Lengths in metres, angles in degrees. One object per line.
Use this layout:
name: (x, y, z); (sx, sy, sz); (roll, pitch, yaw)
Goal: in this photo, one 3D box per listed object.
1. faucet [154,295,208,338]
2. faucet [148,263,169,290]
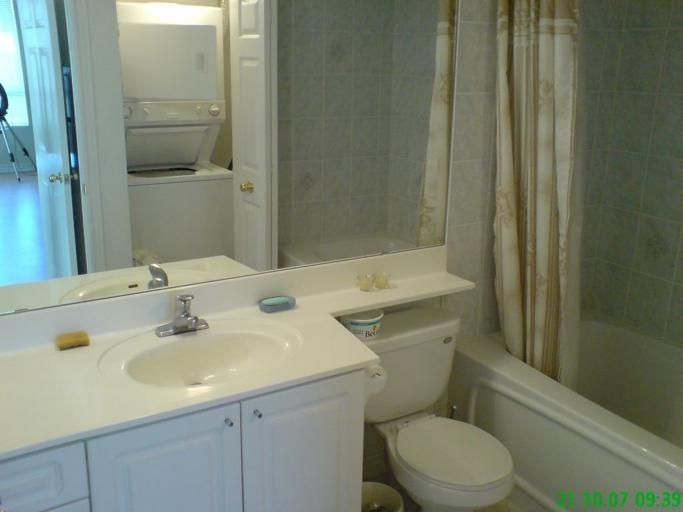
faucet: (-0.546, 0.153, 1.956); (0.219, 0.180, 0.118); (-3, 8, -35)
faucet: (-0.650, 0.070, 2.021); (0.061, 0.084, 0.079); (15, 18, 39)
